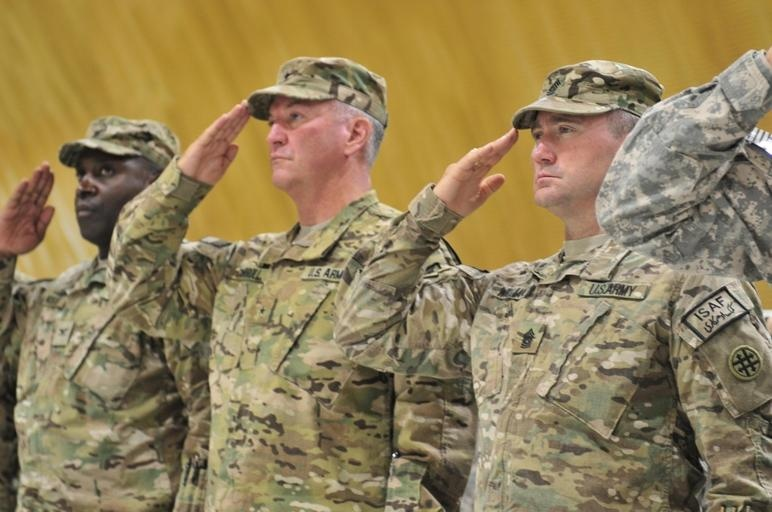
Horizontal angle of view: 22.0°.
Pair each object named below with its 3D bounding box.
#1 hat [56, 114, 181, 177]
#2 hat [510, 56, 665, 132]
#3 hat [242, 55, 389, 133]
[{"bbox_3d":[-1.332,-0.579,10.417,0.631,0.183,0.437,11,-17,-31],"label":"hat"},{"bbox_3d":[0.960,-0.755,9.202,0.508,0.154,0.327,1,-8,-16],"label":"hat"},{"bbox_3d":[-0.311,-0.817,9.718,0.583,0.174,0.357,8,-14,-19],"label":"hat"}]
